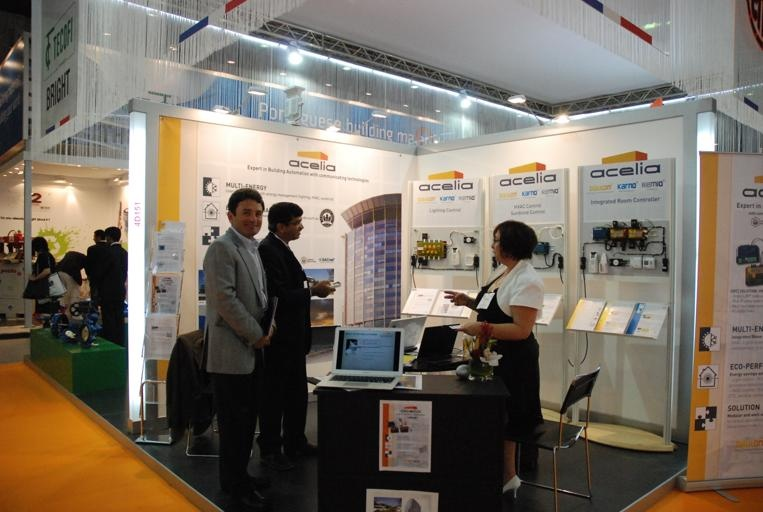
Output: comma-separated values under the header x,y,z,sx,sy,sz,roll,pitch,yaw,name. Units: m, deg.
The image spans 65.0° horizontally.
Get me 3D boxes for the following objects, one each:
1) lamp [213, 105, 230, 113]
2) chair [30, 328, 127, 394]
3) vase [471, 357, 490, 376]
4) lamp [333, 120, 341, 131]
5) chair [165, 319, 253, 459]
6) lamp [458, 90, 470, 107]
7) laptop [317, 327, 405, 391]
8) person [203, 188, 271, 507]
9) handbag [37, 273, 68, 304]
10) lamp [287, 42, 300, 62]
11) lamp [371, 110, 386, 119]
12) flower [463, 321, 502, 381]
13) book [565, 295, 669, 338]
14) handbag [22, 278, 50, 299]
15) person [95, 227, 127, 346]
x,y,z,sx,sy,sz,roll,pitch,yaw,name
-2.829,-2.624,10.566,0.280,0.126,0.744,-3,11,-14,lamp
-4.313,1.468,8.597,1.885,0.618,0.713,9,14,43,chair
0.839,0.942,5.168,0.153,0.161,0.156,-5,-7,45,vase
-0.918,-2.608,11.921,0.157,0.195,0.297,1,10,8,lamp
-1.955,1.455,6.463,0.677,1.171,0.803,-1,-16,-11,chair
1.870,-3.577,13.682,0.064,0.258,0.271,1,9,31,lamp
-0.122,0.859,5.119,0.610,0.409,0.501,1,1,8,laptop
-1.312,0.830,5.477,0.579,2.816,0.726,-1,9,-3,person
-5.279,0.484,9.715,0.328,0.553,1.035,-6,12,-30,handbag
-1.680,-3.917,11.430,0.195,0.219,0.431,5,39,-13,lamp
-0.058,-2.973,12.561,0.351,0.154,0.074,-8,12,-36,lamp
0.889,0.830,5.203,0.310,0.475,0.330,9,20,21,flower
2.632,0.685,6.730,0.992,0.337,0.341,5,11,29,book
-5.783,0.547,10.064,0.412,0.471,0.206,1,2,14,handbag
-4.199,0.457,9.345,0.462,1.772,0.514,1,9,11,person
